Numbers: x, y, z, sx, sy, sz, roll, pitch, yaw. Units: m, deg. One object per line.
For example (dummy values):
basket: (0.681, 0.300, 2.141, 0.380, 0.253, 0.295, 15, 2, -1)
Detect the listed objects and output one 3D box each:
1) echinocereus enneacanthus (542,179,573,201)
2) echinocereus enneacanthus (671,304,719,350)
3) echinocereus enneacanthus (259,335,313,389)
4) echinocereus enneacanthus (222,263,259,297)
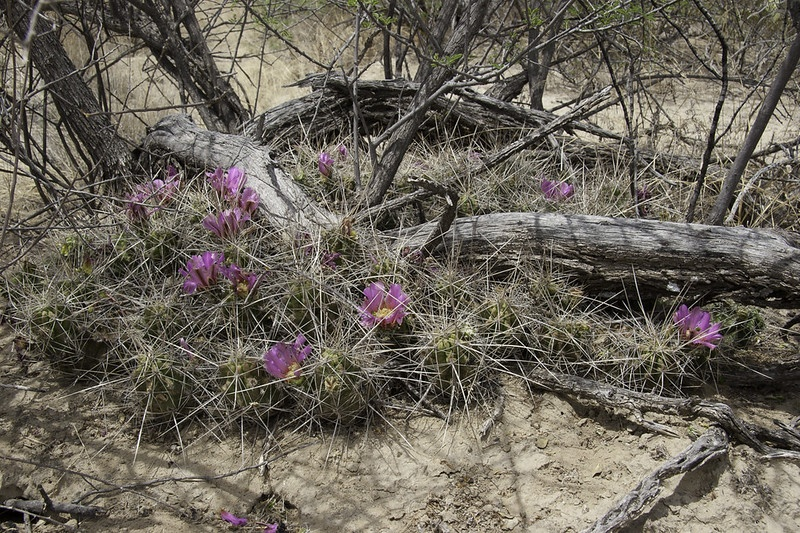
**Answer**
echinocereus enneacanthus: (0.998, -0.488, 4.276, 0.147, 0.084, 0.156, 25, 25, 37)
echinocereus enneacanthus: (1.575, 0.329, 3.605, 0.215, 0.123, 0.269, 6, 27, 25)
echinocereus enneacanthus: (-0.561, 0.475, 3.455, 0.284, 0.143, 0.276, -31, 2, 22)
echinocereus enneacanthus: (-0.849, 0.081, 3.618, 0.169, 0.085, 0.178, 26, 30, -20)
